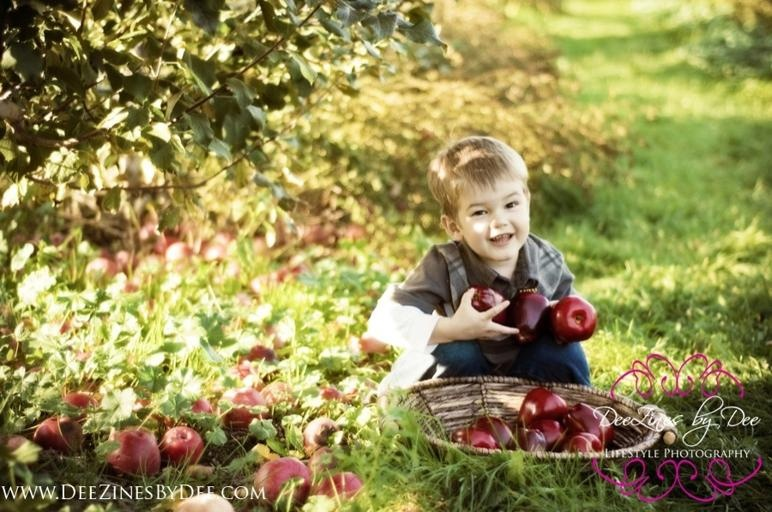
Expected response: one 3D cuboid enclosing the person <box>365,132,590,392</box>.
[{"bbox_3d":[0.426,0.127,3.057,0.950,1.265,0.816,-7,21,-6],"label":"person"}]
